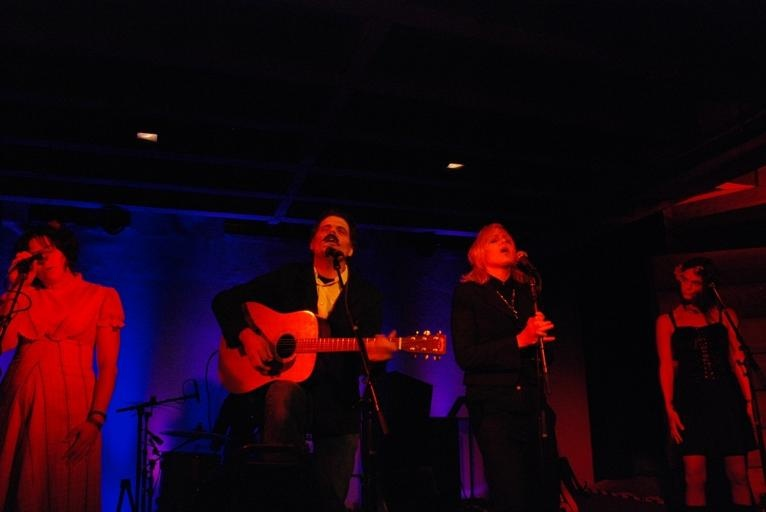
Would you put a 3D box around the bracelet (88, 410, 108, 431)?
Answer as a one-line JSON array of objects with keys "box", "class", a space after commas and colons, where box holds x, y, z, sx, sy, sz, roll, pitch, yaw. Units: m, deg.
[{"box": [-3.279, 1.889, 7.703, 0.220, 0.195, 0.215, 17, -19, -37], "class": "bracelet"}]

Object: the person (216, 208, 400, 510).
[{"box": [-0.630, 0.940, 6.718, 1.599, 3.218, 0.468, -3, -16, 15], "class": "person"}]

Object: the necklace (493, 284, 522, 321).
[{"box": [1.235, 0.446, 6.413, 0.150, 0.278, 0.040, -2, -31, -14], "class": "necklace"}]
